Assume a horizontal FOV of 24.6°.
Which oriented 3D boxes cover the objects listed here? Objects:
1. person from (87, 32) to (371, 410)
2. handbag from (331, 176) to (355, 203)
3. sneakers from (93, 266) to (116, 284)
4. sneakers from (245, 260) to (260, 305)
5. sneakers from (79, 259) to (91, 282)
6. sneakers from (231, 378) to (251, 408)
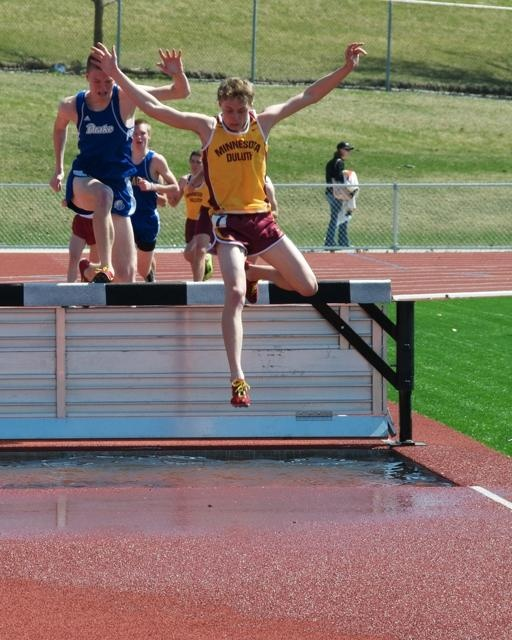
[{"bbox_3d":[-0.011,-0.362,5.444,0.935,1.535,0.935,-8,13,-40],"label":"person"},{"bbox_3d":[1.250,-1.792,16.554,0.276,0.251,0.117,-2,-4,-10],"label":"handbag"},{"bbox_3d":[-0.765,-0.216,5.870,0.071,0.054,0.170,-1,-5,-10],"label":"sneakers"},{"bbox_3d":[-0.012,-0.160,5.487,0.063,0.172,0.071,-10,18,-18],"label":"sneakers"},{"bbox_3d":[-0.912,-0.262,6.226,0.048,0.144,0.064,-1,-9,-11],"label":"sneakers"},{"bbox_3d":[-0.068,0.311,5.019,0.072,0.119,0.179,-1,10,-4],"label":"sneakers"}]
